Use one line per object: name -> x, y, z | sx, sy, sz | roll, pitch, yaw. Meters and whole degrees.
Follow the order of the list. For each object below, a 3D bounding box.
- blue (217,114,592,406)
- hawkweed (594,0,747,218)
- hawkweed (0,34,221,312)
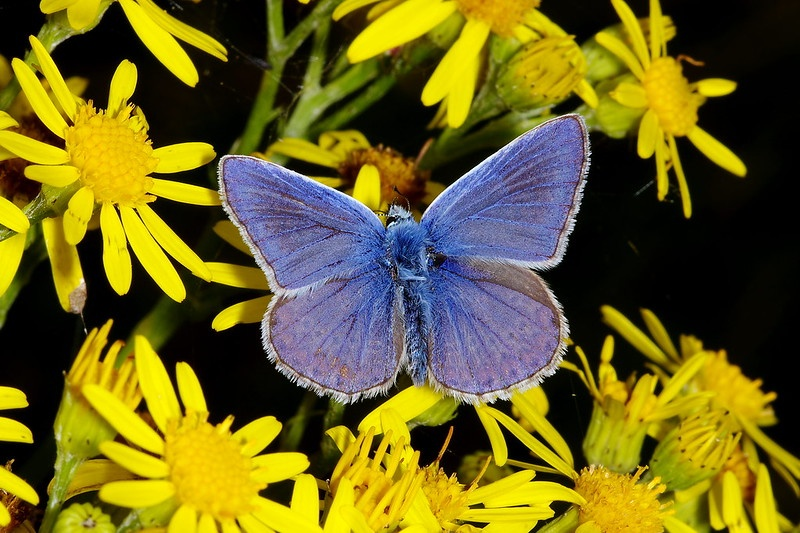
blue -> 0.003, 0.000, 1.756 | 0.706, 0.577, 0.201 | -1, -2, -1
hawkweed -> 0.575, -0.337, 1.853 | 0.330, 0.422, 0.202 | 8, 16, 17
hawkweed -> -0.511, -0.181, 1.614 | 0.353, 0.453, 0.249 | 0, 16, -10
